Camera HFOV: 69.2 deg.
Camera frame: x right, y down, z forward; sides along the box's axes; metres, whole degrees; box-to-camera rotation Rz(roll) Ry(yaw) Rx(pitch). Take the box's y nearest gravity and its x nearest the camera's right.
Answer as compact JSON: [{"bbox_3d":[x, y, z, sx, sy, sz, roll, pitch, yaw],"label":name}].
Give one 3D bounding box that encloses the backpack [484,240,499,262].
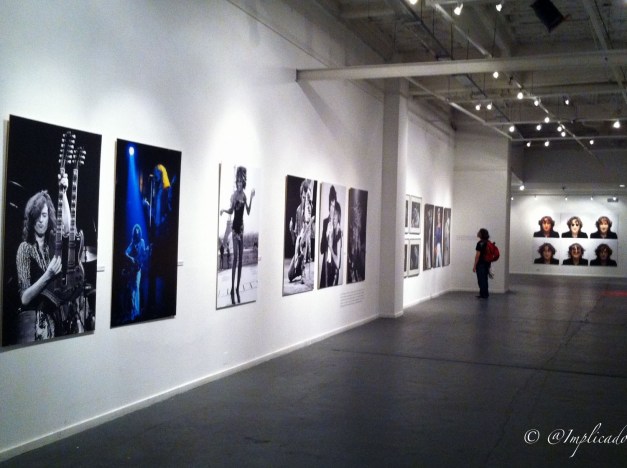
[{"bbox_3d":[5.861,0.569,14.963,0.376,0.547,0.358,1,0,25],"label":"backpack"}]
